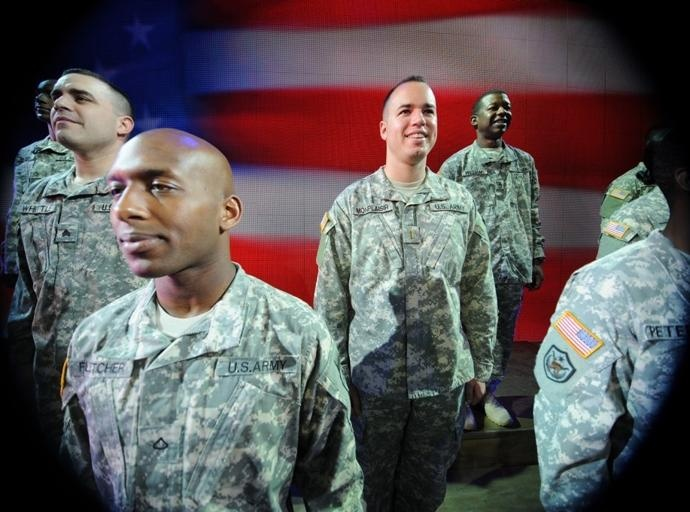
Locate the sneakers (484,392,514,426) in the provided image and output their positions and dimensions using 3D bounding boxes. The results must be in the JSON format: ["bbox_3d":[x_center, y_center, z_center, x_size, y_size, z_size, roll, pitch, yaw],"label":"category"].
[{"bbox_3d":[1.026,1.109,5.359,0.102,0.118,0.283,-12,11,-18],"label":"sneakers"}]
